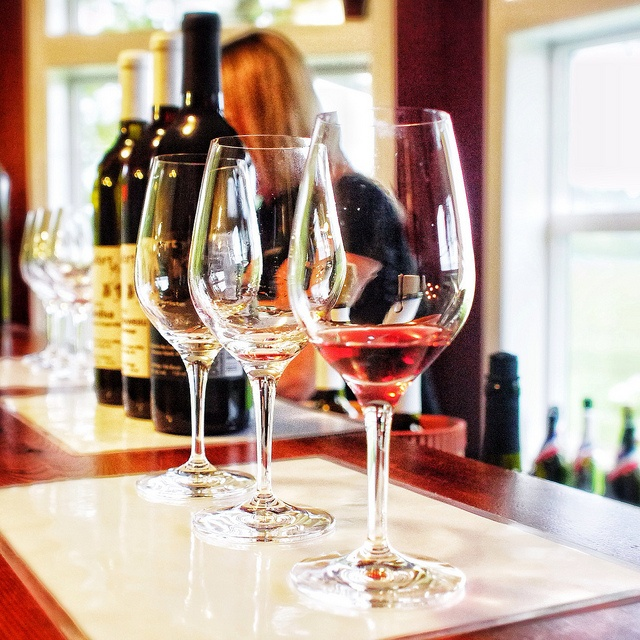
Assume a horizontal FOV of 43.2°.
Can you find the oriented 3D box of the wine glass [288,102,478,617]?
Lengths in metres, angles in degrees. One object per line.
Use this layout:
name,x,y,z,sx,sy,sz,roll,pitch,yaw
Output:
wine glass,0.024,0.012,0.343,0.080,0.203,0.059,1,3,10
